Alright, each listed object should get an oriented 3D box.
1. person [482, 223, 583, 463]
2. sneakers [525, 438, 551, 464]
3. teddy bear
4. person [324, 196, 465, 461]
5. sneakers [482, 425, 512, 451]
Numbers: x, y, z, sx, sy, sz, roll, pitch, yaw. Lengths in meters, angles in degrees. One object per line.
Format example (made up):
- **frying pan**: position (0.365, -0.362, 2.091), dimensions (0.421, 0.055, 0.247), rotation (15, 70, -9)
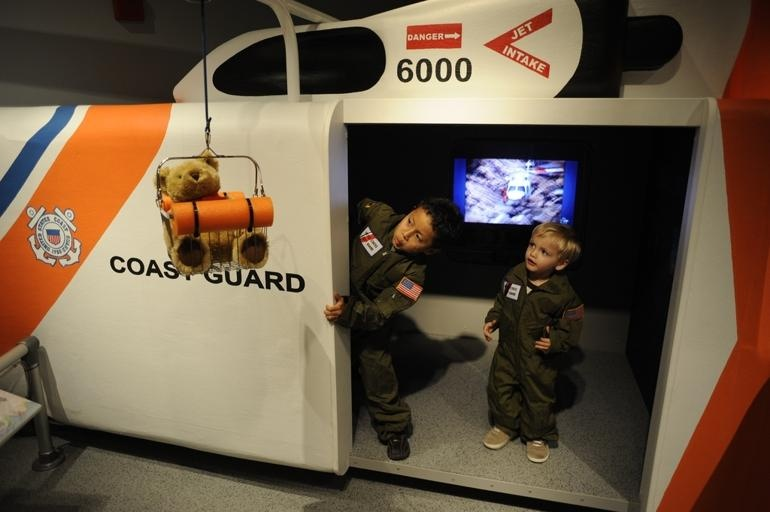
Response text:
- **person**: position (0.767, 0.448, 2.862), dimensions (0.495, 1.232, 0.335), rotation (5, 15, 20)
- **sneakers**: position (0.827, 1.038, 2.877), dimensions (0.147, 0.083, 0.126), rotation (-1, 14, -3)
- **teddy bear**: position (-0.668, -0.201, 2.165), dimensions (0.451, 0.529, 0.496), rotation (-10, 23, -24)
- **person**: position (-0.010, 0.352, 2.903), dimensions (0.757, 1.343, 0.560), rotation (-7, 16, -25)
- **sneakers**: position (0.606, 0.998, 2.947), dimensions (0.081, 0.069, 0.172), rotation (2, 1, 34)
